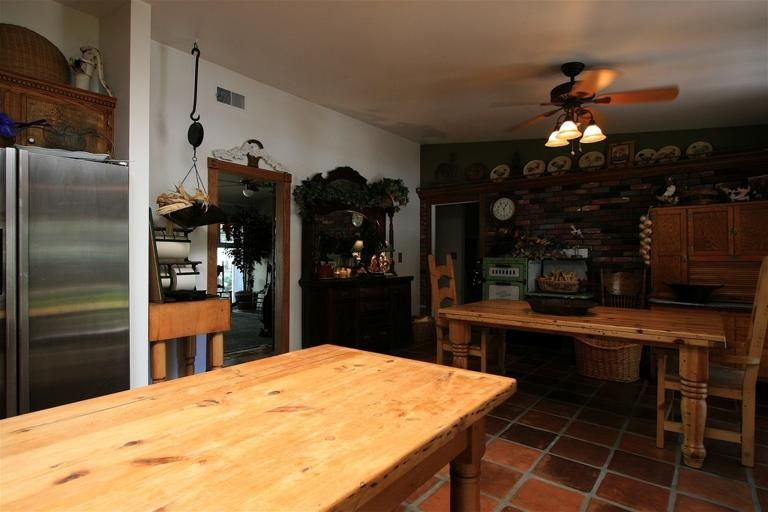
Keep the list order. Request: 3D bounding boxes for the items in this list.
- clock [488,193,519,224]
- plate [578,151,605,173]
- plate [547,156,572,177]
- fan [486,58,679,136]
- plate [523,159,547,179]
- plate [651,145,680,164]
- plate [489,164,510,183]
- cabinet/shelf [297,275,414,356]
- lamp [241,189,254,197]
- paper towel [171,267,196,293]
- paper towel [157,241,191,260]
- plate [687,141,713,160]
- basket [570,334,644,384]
[{"bbox_3d":[1.756,-0.693,7.479,0.393,0.361,0.119,8,18,34],"label":"clock"},{"bbox_3d":[2.797,-1.258,6.802,0.326,0.299,0.043,1,9,38],"label":"plate"},{"bbox_3d":[2.422,-1.254,7.033,0.310,0.251,0.137,9,19,38],"label":"plate"},{"bbox_3d":[1.991,-1.592,5.316,1.572,0.779,1.472,0,13,8],"label":"fan"},{"bbox_3d":[2.139,-1.253,7.236,0.308,0.248,0.134,3,16,19],"label":"plate"},{"bbox_3d":[3.515,-1.276,6.298,0.288,0.181,0.095,6,17,29],"label":"plate"},{"bbox_3d":[1.703,-1.225,7.492,0.302,0.244,0.158,6,17,30],"label":"plate"},{"bbox_3d":[-0.408,0.718,6.254,0.347,0.655,1.179,-4,-5,37],"label":"cabinet/shelf"},{"bbox_3d":[-2.234,-1.038,8.273,0.193,0.130,0.189,3,11,20],"label":"lamp"},{"bbox_3d":[-1.925,0.242,4.909,0.256,0.192,0.218,6,-32,-46],"label":"paper towel"},{"bbox_3d":[-2.017,-0.062,4.847,0.148,0.156,0.394,18,9,34],"label":"paper towel"},{"bbox_3d":[3.794,-1.283,6.109,0.120,0.193,0.256,-16,19,-42],"label":"plate"},{"bbox_3d":[2.400,1.107,5.433,0.759,0.495,0.518,2,6,38],"label":"basket"}]
